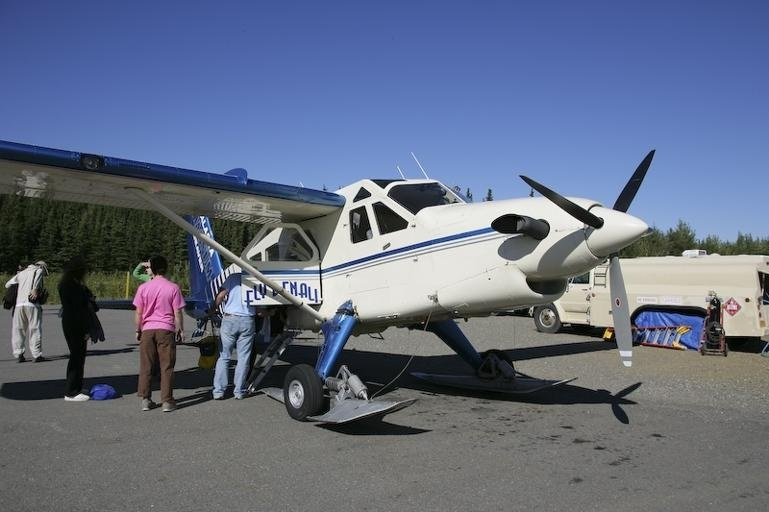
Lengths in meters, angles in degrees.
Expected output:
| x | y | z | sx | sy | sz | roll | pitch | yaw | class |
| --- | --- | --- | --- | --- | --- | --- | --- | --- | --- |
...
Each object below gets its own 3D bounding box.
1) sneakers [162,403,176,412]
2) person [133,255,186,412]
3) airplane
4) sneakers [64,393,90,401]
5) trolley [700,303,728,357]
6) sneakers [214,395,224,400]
| x | y | z | sx | sy | sz | roll | pitch | yaw | class |
| --- | --- | --- | --- | --- | --- | --- | --- | --- | --- |
| -3.286 | 2.322 | 7.799 | 0.095 | 0.089 | 0.237 | 2 | 0 | 19 | sneakers |
| -3.560 | 1.210 | 8.044 | 0.704 | 2.364 | 0.972 | 0 | 4 | -22 | person |
| -0.628 | 0.168 | 7.479 | 6.270 | 2.122 | 6.293 | -7 | -8 | 38 | airplane |
| -4.944 | 2.277 | 8.154 | 0.405 | 0.127 | 0.130 | 0 | -2 | -1 | sneakers |
| 8.308 | 1.850 | 12.802 | 0.544 | 1.224 | 0.808 | 3 | 4 | 28 | trolley |
| -2.763 | 2.376 | 8.495 | 0.084 | 0.051 | 0.144 | 1 | 1 | -32 | sneakers |
